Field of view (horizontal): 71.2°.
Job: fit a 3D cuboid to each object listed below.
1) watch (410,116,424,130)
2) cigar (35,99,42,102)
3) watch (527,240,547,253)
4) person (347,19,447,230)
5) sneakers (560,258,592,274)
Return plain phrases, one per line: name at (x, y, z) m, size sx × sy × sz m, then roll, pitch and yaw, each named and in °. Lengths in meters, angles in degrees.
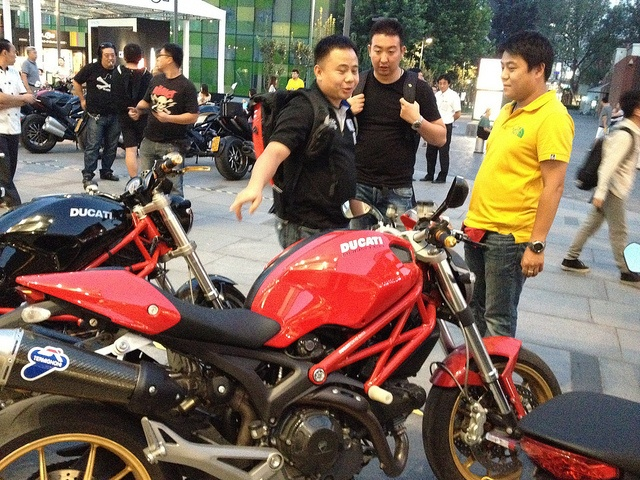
watch at (0.847, -1.041, 3.960) m, size 0.076 × 0.119 × 0.115 m, roll 26°, pitch 22°, yaw 0°
cigar at (-7.194, -3.549, 11.355) m, size 0.091 × 0.092 × 0.022 m, roll -14°, pitch 23°, yaw -30°
watch at (1.368, 0.024, 2.820) m, size 0.078 × 0.048 × 0.080 m, roll 6°, pitch -13°, yaw 11°
person at (0.661, -0.740, 4.364) m, size 1.056 × 2.520 × 0.693 m, roll 8°, pitch 25°, yaw 19°
sneakers at (3.646, 0.361, 6.398) m, size 0.390 × 0.185 × 0.169 m, roll 2°, pitch 5°, yaw 2°
